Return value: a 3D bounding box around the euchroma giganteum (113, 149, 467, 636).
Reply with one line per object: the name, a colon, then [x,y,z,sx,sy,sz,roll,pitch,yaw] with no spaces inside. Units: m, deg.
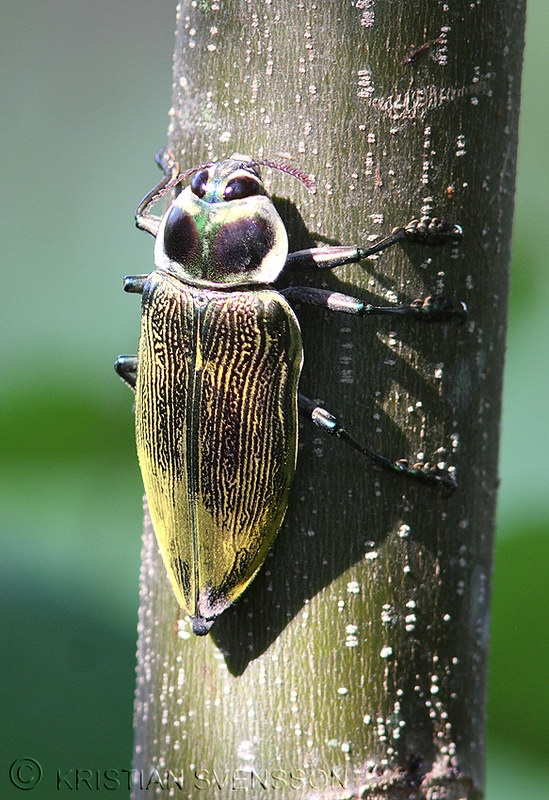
euchroma giganteum: [-0.079,-0.053,3.058,0.929,1.018,0.292,4,-1,38]
